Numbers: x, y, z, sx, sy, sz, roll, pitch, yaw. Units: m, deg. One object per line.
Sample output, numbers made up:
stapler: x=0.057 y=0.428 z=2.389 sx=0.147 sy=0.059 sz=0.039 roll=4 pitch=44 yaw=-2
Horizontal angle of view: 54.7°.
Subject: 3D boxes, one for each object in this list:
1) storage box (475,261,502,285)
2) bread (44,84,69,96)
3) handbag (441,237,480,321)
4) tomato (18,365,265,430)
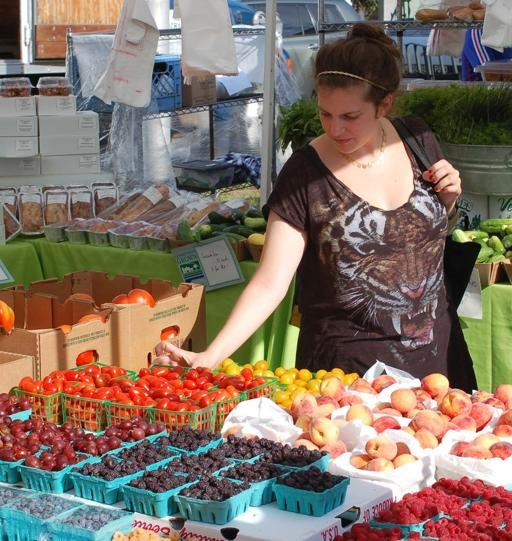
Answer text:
storage box: x=1.425 y=0.020 z=3.035 sx=0.160 sy=0.151 sz=0.255 roll=4 pitch=12 yaw=29
bread: x=-1.893 y=-1.695 z=4.666 sx=0.201 sy=0.050 sz=0.125 roll=-1 pitch=6 yaw=-7
handbag: x=0.885 y=0.044 z=2.159 sx=0.186 sy=0.308 sz=0.170 roll=3 pitch=17 yaw=21
tomato: x=-0.374 y=0.372 z=1.496 sx=0.520 sy=0.072 sz=0.293 roll=-1 pitch=4 yaw=20
